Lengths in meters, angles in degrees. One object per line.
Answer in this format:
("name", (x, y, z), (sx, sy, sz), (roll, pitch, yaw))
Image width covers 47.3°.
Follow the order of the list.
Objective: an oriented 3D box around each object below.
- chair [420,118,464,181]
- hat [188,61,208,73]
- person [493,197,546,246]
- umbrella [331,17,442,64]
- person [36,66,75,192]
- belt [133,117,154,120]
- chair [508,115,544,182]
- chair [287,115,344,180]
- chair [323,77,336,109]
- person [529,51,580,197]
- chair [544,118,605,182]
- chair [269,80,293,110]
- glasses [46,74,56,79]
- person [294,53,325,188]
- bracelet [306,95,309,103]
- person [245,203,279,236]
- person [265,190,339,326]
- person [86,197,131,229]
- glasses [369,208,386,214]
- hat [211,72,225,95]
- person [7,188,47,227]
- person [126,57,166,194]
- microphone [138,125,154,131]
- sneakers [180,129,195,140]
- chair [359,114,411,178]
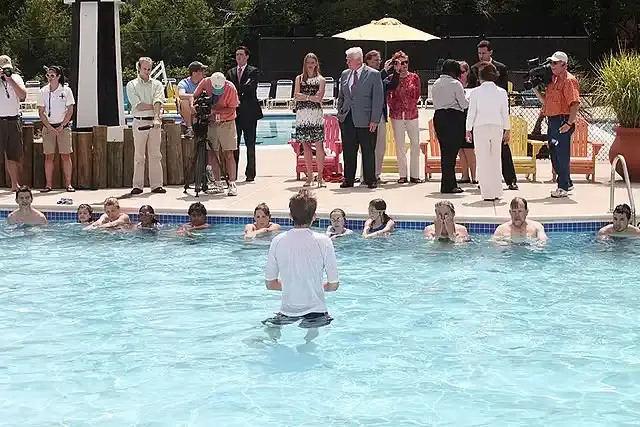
("chair", (2.133, -1.172, 13.875), (0.980, 1.183, 1.243), (-1, 10, 4))
("hat", (-2.256, -2.691, 13.322), (0.435, 0.200, 0.287), (-10, 20, -10))
("person", (2.873, 0.090, 10.506), (0.775, 0.683, 0.498), (-2, 6, 5))
("umbrella", (1.720, -4.765, 19.487), (2.871, 0.969, 2.913), (-14, 23, -40))
("person", (-4.739, -1.516, 13.119), (0.643, 2.242, 0.469), (-5, 7, -19))
("belt", (-3.083, -1.680, 12.764), (0.305, 0.050, 0.074), (-5, 6, -29))
("chair", (3.581, -1.233, 13.466), (0.848, 0.924, 1.027), (-1, 21, 12))
("chair", (0.054, -1.318, 14.270), (1.069, 1.146, 1.261), (3, 13, 10))
("chair", (0.280, -5.088, 30.536), (0.757, 1.123, 0.797), (-2, 2, 1))
("person", (3.918, -1.481, 12.051), (0.647, 2.369, 0.714), (-2, 6, 6))
("chair", (4.704, -1.155, 13.387), (0.920, 0.903, 0.999), (-12, 19, 3))
("chair", (-1.656, -5.210, 31.654), (0.924, 1.035, 1.248), (6, 22, 12))
("glasses", (-4.730, -2.443, 12.914), (0.116, 0.041, 0.114), (2, 4, 13))
("person", (-0.166, -1.657, 13.011), (0.534, 2.356, 0.897), (-3, 6, -1))
("bracelet", (-0.210, -2.014, 12.617), (0.057, 0.097, 0.055), (-3, 6, -3))
("person", (-0.907, 0.087, 11.180), (0.566, 0.450, 0.757), (1, 13, 19))
("person", (-0.206, 0.496, 7.695), (0.745, 1.484, 0.367), (-3, 6, -2))
("person", (-3.370, 0.014, 11.512), (0.479, 0.500, 0.928), (4, 5, 21))
("glasses", (0.848, -0.045, 10.797), (0.112, 0.079, 0.147), (-4, -17, 45))
("hat", (-1.755, -2.247, 12.601), (0.268, 0.377, 0.340), (-3, 6, -8))
("person", (-4.806, -0.088, 11.957), (0.747, 0.698, 0.381), (-1, 1, -13))
("person", (-3.048, -1.526, 12.813), (0.668, 2.350, 0.528), (-3, 6, -6))
("microphone", (-3.043, -1.496, 12.659), (0.328, 0.081, 0.083), (-8, 1, -27))
("sneakers", (-2.317, -1.399, 12.921), (0.152, 0.182, 0.426), (-1, 8, -31))
("chair", (1.164, -1.240, 13.224), (1.266, 1.511, 1.162), (1, 8, 5))
